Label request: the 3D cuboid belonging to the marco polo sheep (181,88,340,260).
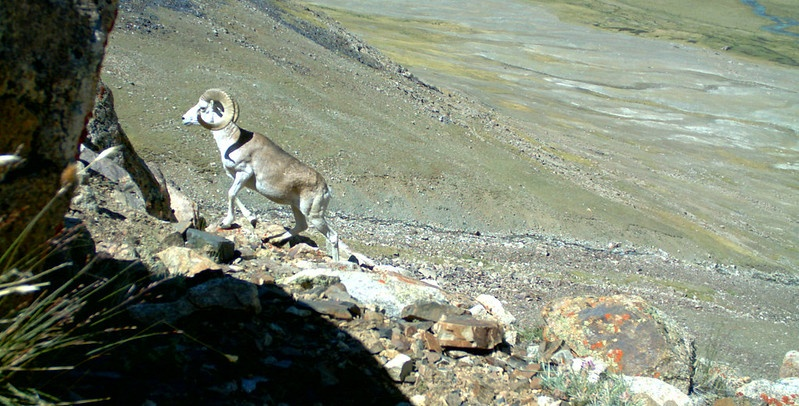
[{"bbox_3d":[-6.606,-1.440,36.233,11.588,7.260,4.584,14,22,30],"label":"marco polo sheep"}]
